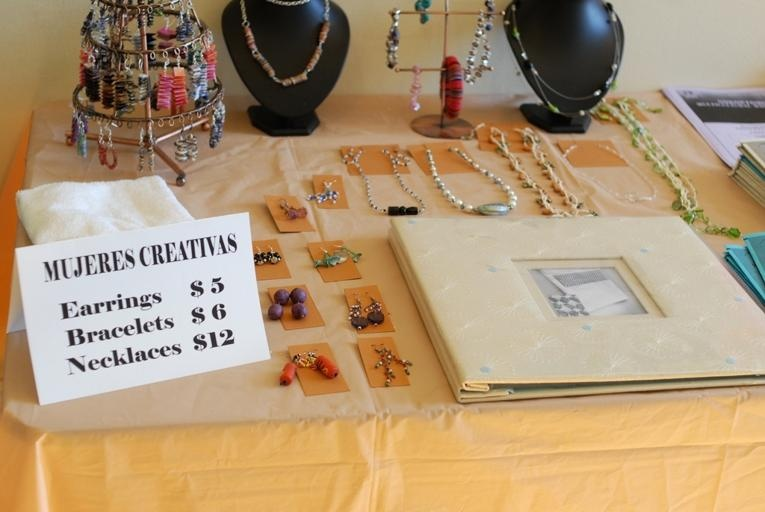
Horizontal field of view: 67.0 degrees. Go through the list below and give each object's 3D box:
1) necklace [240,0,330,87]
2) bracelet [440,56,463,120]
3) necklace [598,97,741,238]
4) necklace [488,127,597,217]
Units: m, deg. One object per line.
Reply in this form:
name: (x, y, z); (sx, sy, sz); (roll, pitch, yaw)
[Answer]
necklace: (-0.235, -0.497, 1.341); (0.238, 0.254, 0.104); (-2, 5, -12)
bracelet: (0.167, -0.401, 1.401); (0.053, 0.121, 0.131); (-6, 68, 3)
necklace: (0.671, -0.234, 1.391); (0.152, 0.038, 0.435); (-10, 39, -7)
necklace: (0.351, -0.195, 1.347); (0.115, 0.040, 0.337); (-7, 43, -24)
